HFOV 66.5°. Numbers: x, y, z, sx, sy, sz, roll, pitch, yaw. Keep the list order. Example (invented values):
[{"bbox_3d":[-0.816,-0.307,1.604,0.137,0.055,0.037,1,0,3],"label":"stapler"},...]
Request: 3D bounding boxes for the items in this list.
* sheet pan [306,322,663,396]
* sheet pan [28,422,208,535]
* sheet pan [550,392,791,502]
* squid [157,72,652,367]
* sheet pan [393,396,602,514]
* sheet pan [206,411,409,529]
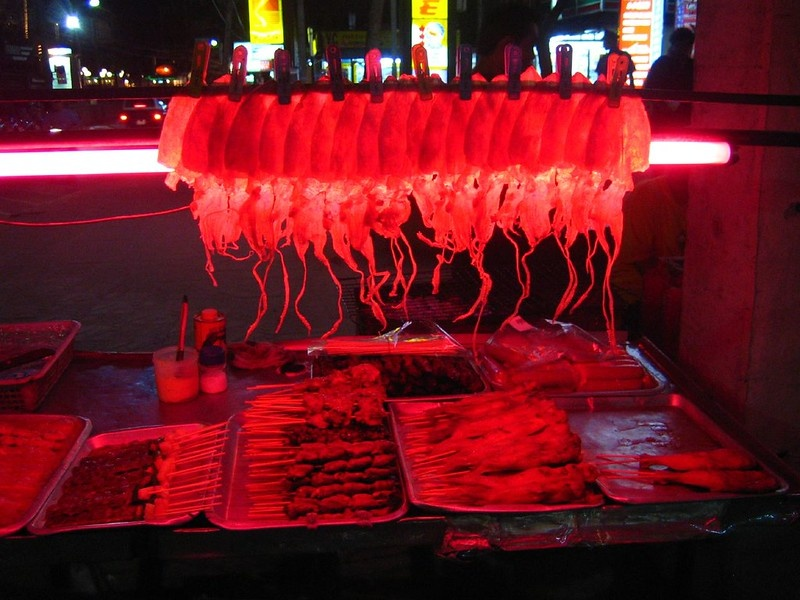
[{"bbox_3d":[0.554,0.329,3.292,1.183,0.156,0.694,-1,17,-7],"label":"sheet pan"},{"bbox_3d":[-1.074,0.707,2.520,0.596,0.090,0.636,-1,17,-5],"label":"sheet pan"},{"bbox_3d":[1.062,0.636,2.722,0.875,0.108,1.101,-3,14,7],"label":"sheet pan"},{"bbox_3d":[0.033,-0.443,2.276,1.784,0.645,0.228,-1,17,-5],"label":"squid"},{"bbox_3d":[0.383,0.594,2.665,0.870,0.235,0.898,8,22,-4],"label":"sheet pan"},{"bbox_3d":[-0.379,0.688,2.643,0.789,0.105,0.940,-1,19,-7],"label":"sheet pan"}]
